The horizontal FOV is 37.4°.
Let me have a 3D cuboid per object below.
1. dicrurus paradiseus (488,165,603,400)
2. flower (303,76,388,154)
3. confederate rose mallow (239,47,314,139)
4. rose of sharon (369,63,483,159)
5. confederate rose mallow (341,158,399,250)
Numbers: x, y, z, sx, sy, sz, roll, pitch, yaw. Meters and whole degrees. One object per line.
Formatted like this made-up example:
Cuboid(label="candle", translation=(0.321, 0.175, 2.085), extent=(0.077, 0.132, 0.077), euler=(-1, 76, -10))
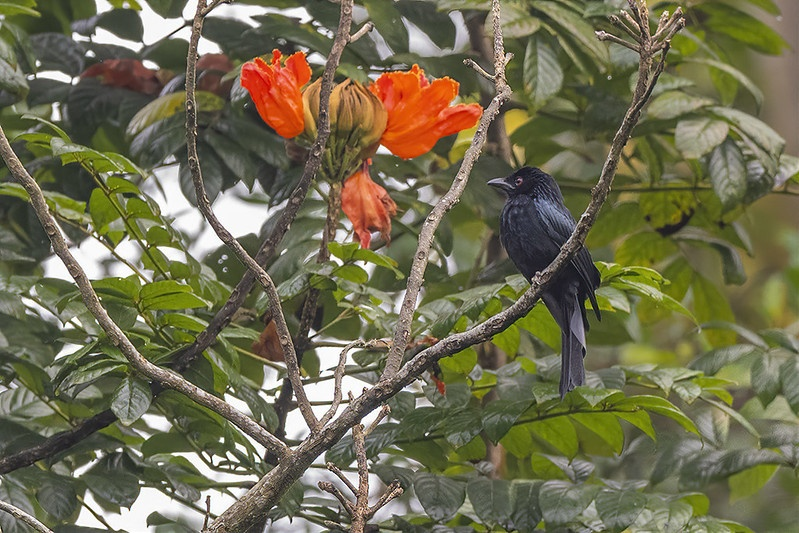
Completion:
Cuboid(label="dicrurus paradiseus", translation=(0.763, 0.097, 6.051), extent=(0.542, 0.331, 1.173), euler=(3, -94, -7))
Cuboid(label="flower", translation=(-0.241, -0.689, 5.221), extent=(0.261, 0.349, 0.351), euler=(-5, -71, -24))
Cuboid(label="confederate rose mallow", translation=(-0.525, -0.748, 5.099), extent=(0.277, 0.243, 0.375), euler=(7, -77, 47))
Cuboid(label="rose of sharon", translation=(0.079, -0.661, 5.301), extent=(0.441, 0.447, 0.281), euler=(11, -57, -29))
Cuboid(label="confederate rose mallow", translation=(-0.152, -0.269, 5.365), extent=(0.257, 0.266, 0.607), euler=(-5, -84, -26))
